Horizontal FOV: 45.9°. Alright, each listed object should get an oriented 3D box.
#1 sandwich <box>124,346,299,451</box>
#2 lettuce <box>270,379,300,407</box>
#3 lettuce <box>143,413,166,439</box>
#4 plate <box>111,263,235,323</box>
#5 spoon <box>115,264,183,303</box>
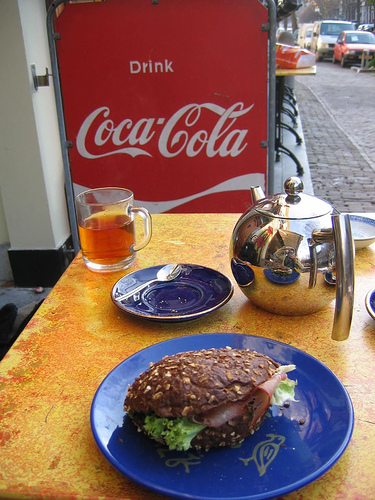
[{"bbox_3d":[0.050,0.227,0.728,0.263,0.098,0.217,-5,-1,-28],"label":"sandwich"},{"bbox_3d":[0.152,0.222,0.694,0.045,0.017,0.044,-16,30,-30],"label":"lettuce"},{"bbox_3d":[-0.046,0.253,0.640,0.029,0.013,0.029,5,18,25],"label":"lettuce"},{"bbox_3d":[-0.040,0.109,1.158,0.316,0.033,0.334,-20,25,-40],"label":"plate"},{"bbox_3d":[-0.086,0.067,1.216,0.061,0.034,0.261,22,32,32],"label":"spoon"}]
